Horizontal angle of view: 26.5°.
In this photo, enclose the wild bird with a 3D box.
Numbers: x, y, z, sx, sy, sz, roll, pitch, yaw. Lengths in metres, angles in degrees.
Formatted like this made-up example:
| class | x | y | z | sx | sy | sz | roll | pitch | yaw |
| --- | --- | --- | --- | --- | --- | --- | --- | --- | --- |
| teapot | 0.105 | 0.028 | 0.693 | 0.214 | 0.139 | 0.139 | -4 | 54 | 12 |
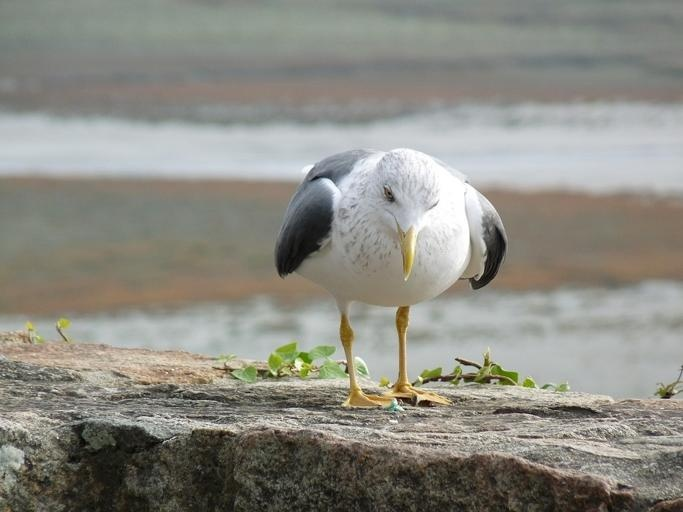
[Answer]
| class | x | y | z | sx | sy | sz | roll | pitch | yaw |
| --- | --- | --- | --- | --- | --- | --- | --- | --- | --- |
| wild bird | 0.204 | 0.121 | 7.572 | 0.921 | 1.366 | 0.852 | 5 | 6 | 32 |
